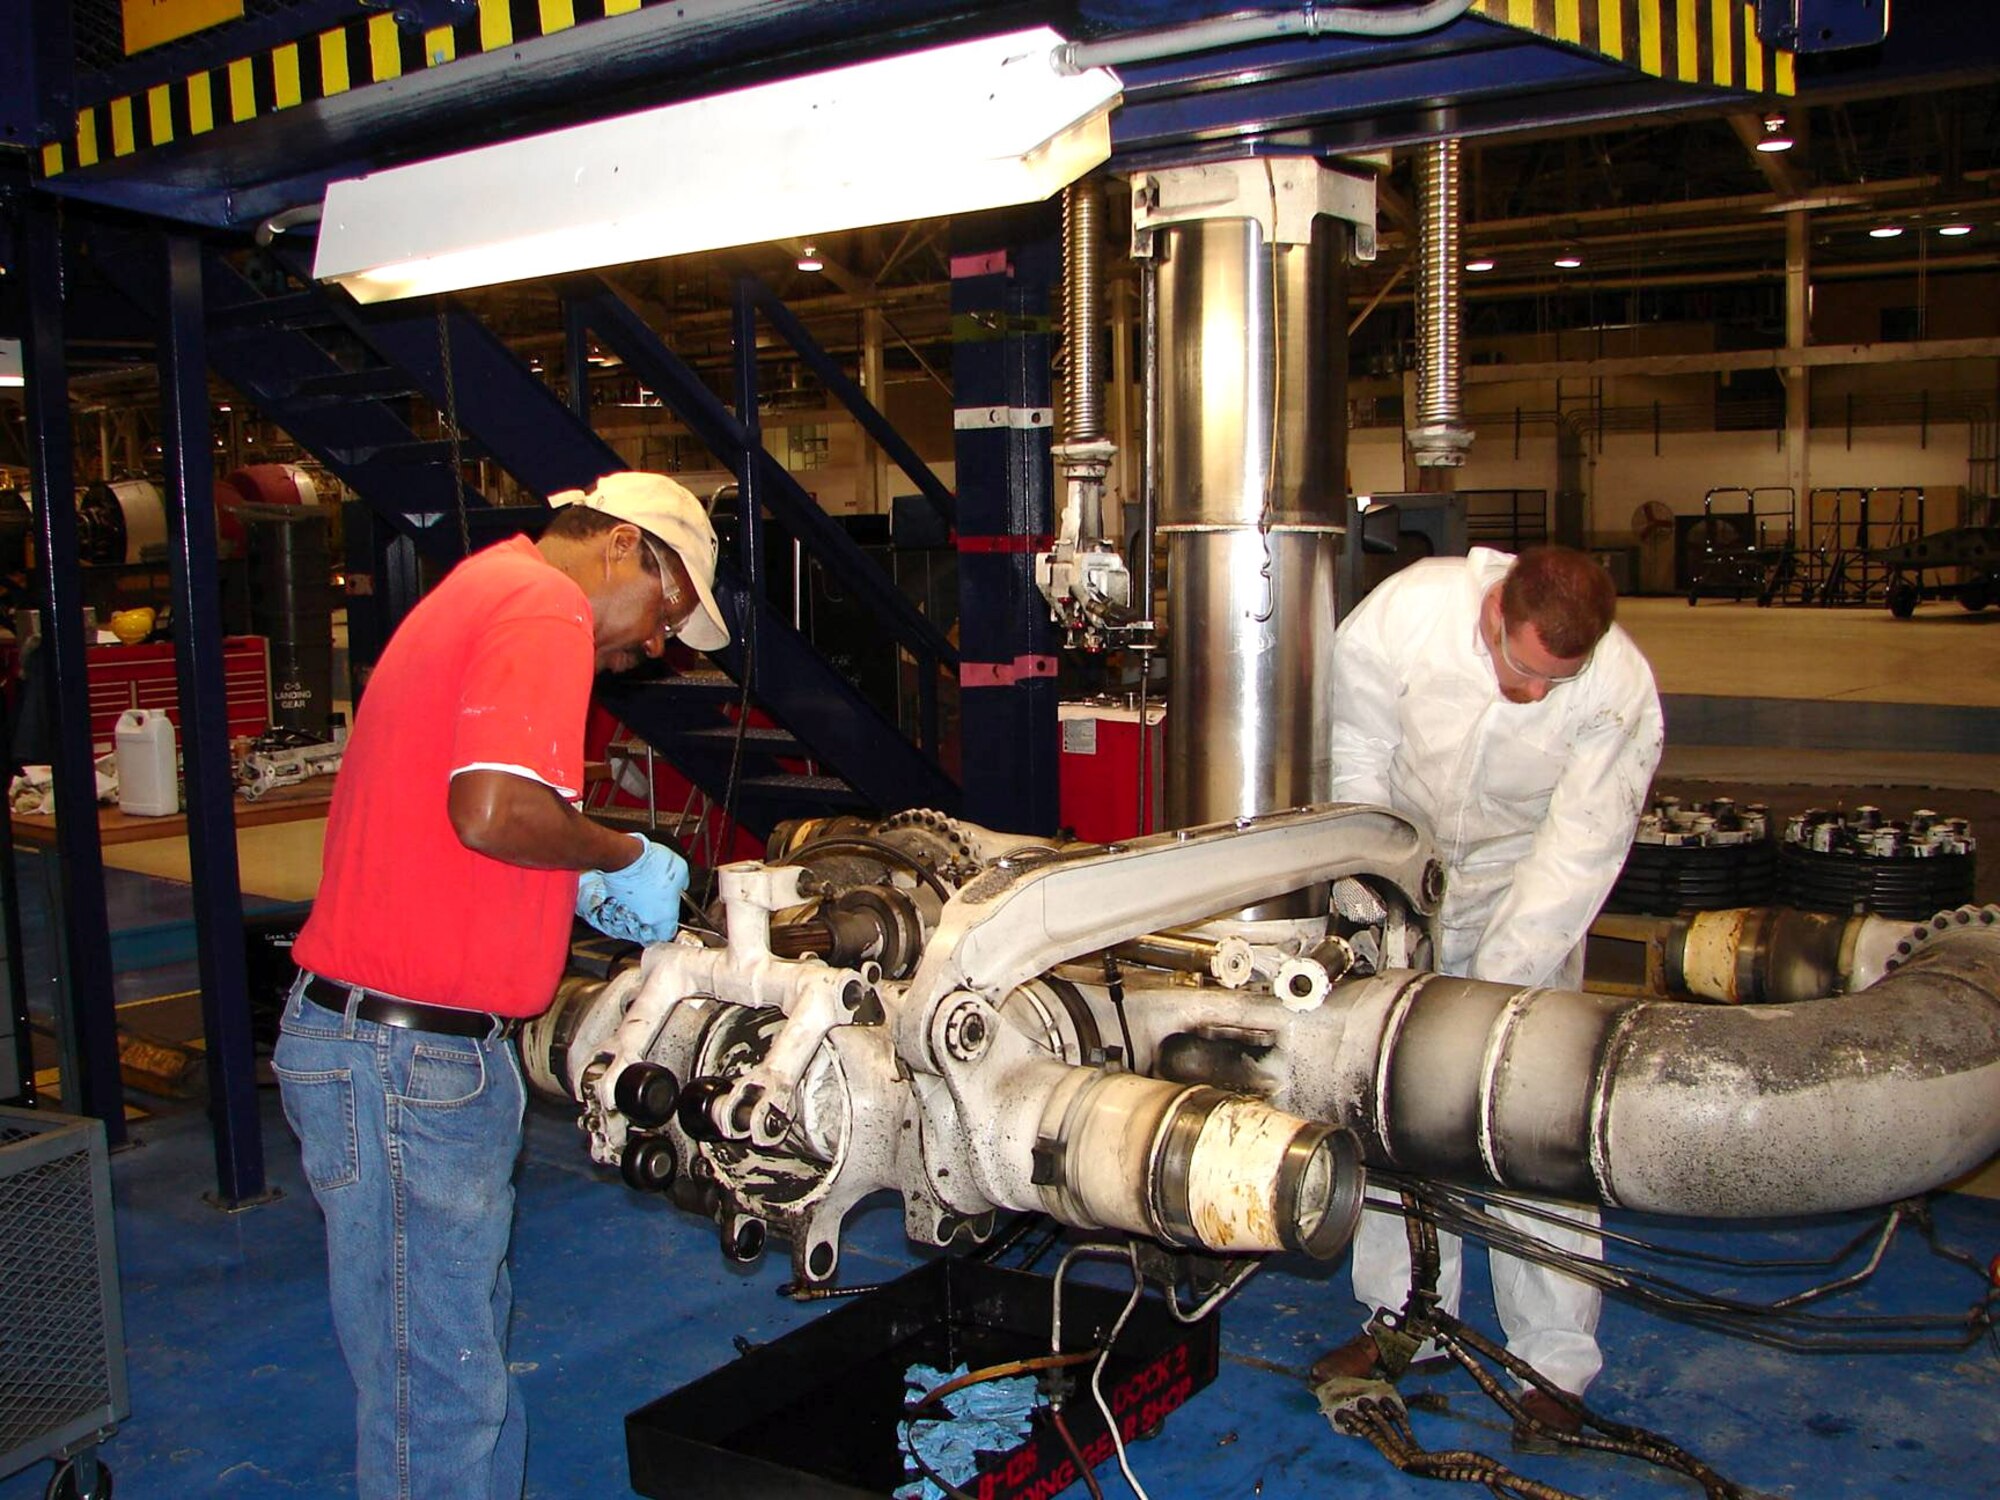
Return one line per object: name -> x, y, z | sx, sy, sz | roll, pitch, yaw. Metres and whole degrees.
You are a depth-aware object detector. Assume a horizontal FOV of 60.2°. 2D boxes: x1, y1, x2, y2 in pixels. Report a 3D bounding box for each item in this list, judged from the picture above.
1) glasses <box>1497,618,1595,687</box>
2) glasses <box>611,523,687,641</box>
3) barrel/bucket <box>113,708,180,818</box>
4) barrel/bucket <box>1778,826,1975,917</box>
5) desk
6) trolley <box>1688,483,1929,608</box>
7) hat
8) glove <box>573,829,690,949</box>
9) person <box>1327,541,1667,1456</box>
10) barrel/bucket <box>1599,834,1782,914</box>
glasses -> 1.089, -0.217, 3.495 | 0.149, 0.069, 0.155 | 2, 46, -37
glasses -> -0.601, -0.343, 3.031 | 0.042, 0.144, 0.137 | -21, -21, 0
barrel/bucket -> -3.042, -0.023, 6.156 | 0.199, 0.388, 0.410 | -5, 6, -27
barrel/bucket -> 2.852, 0.358, 5.607 | 0.386, 0.167, 0.392 | -2, 4, 0
desk -> -2.661, 0.529, 5.538 | 1.036, 1.014, 0.767 | 4, 6, 36
trolley -> 10.420, -3.136, 22.827 | 3.690, 2.085, 2.084 | 1, 7, 26
hat -> -0.572, -0.421, 3.111 | 0.420, 0.236, 0.239 | 23, -6, -21
glove -> -0.649, 0.255, 3.026 | 0.174, 0.093, 0.232 | 21, -34, -13
person -> 1.052, 0.496, 3.812 | 0.681, 2.026, 0.721 | 1, 7, 33
barrel/bucket -> 2.273, 0.345, 5.653 | 0.368, 0.124, 0.341 | -1, 4, 0
